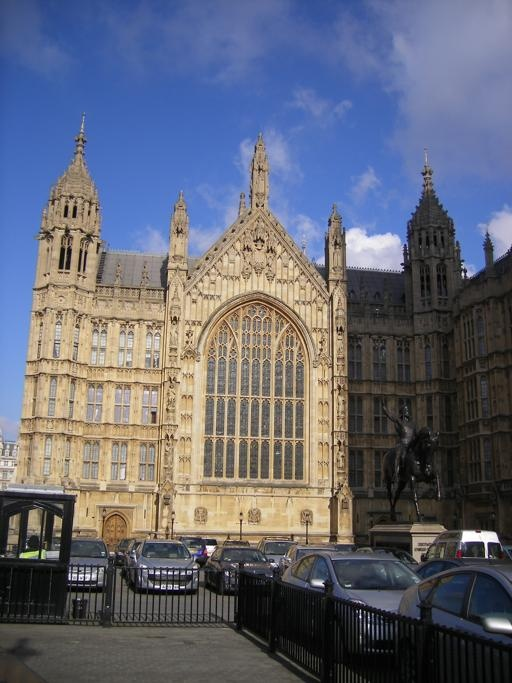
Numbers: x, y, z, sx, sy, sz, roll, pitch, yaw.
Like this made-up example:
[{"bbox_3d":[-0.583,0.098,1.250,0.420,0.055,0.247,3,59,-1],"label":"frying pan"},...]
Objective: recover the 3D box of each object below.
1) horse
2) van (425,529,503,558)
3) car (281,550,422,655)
[{"bbox_3d":[6.437,5.522,30.507,1.358,3.485,4.634,2,-10,-14],"label":"horse"},{"bbox_3d":[6.254,6.091,21.829,1.725,0.805,2.594,0,-15,0],"label":"van"},{"bbox_3d":[1.676,3.791,10.942,1.224,0.875,2.527,8,-26,-11],"label":"car"}]
